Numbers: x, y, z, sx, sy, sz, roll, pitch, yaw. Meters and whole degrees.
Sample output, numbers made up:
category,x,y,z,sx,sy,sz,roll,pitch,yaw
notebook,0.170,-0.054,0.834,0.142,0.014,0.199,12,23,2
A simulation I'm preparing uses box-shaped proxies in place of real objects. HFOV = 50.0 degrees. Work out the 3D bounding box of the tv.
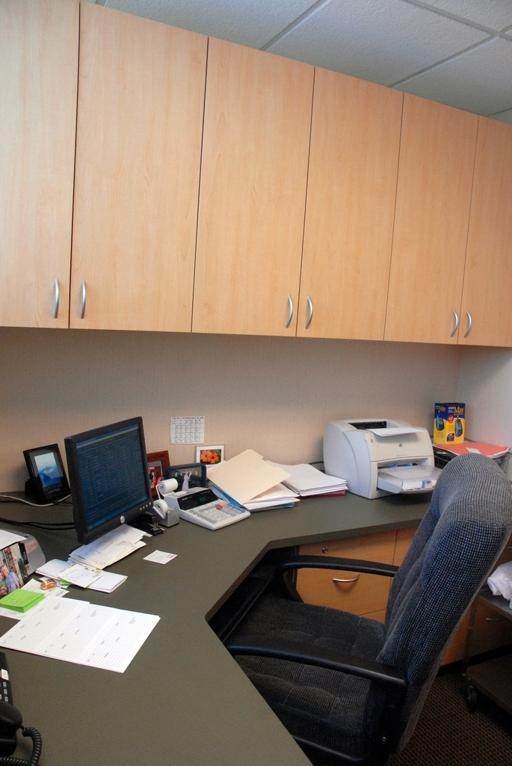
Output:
category,x,y,z,sx,sy,sz,roll,pitch,yaw
tv,-0.428,0.291,1.588,0.059,0.266,0.303,-3,10,21

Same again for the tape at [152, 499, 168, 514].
category,x,y,z,sx,sy,sz,roll,pitch,yaw
tape,-0.305,0.393,1.744,0.025,0.036,0.020,-27,-7,25

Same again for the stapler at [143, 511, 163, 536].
category,x,y,z,sx,sy,sz,roll,pitch,yaw
stapler,-0.318,0.435,1.689,0.030,0.055,0.104,-2,18,-23

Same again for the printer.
category,x,y,z,sx,sy,sz,roll,pitch,yaw
printer,0.505,0.279,2.220,0.266,0.233,0.386,-1,3,-22

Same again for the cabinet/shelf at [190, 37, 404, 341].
category,x,y,z,sx,sy,sz,roll,pitch,yaw
cabinet/shelf,0.125,-0.690,1.885,0.870,1.063,0.366,2,14,-19
